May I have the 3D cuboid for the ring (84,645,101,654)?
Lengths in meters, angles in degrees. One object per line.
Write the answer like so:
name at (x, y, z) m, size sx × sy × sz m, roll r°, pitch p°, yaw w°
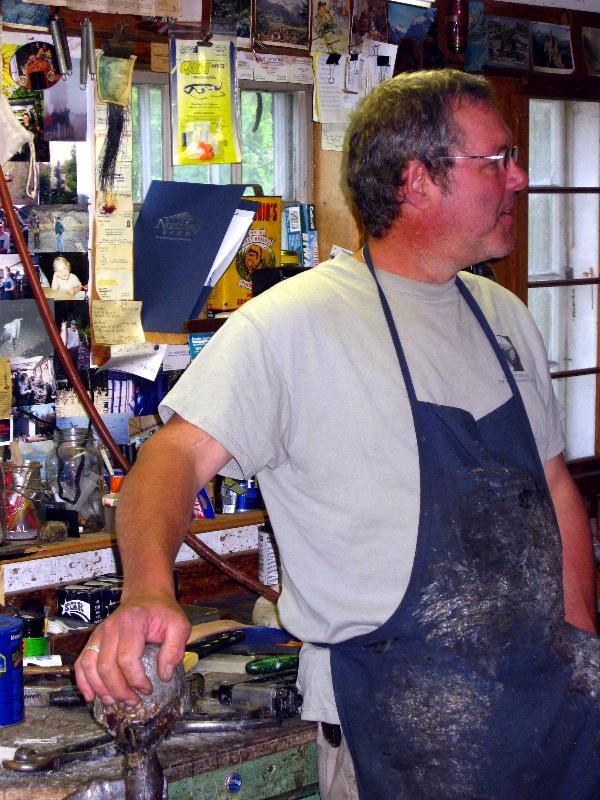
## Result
ring at (-0.161, 0.194, 0.599) m, size 0.010 × 0.012 × 0.004 m, roll 15°, pitch 51°, yaw -25°
